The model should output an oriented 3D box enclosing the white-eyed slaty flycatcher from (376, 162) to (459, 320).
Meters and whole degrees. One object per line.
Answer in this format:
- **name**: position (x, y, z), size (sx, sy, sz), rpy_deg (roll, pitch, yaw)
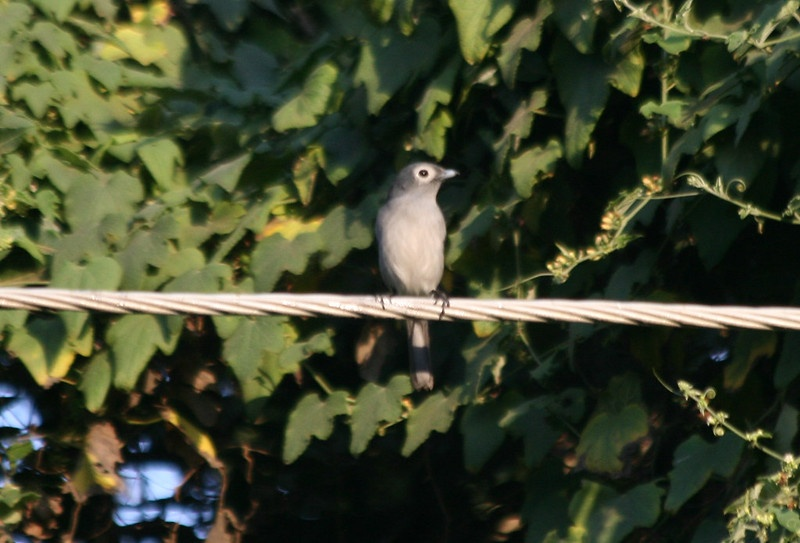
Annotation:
- **white-eyed slaty flycatcher**: position (0.073, -0.220, 9.257), size (0.409, 0.856, 0.859), rpy_deg (-1, 8, -15)
